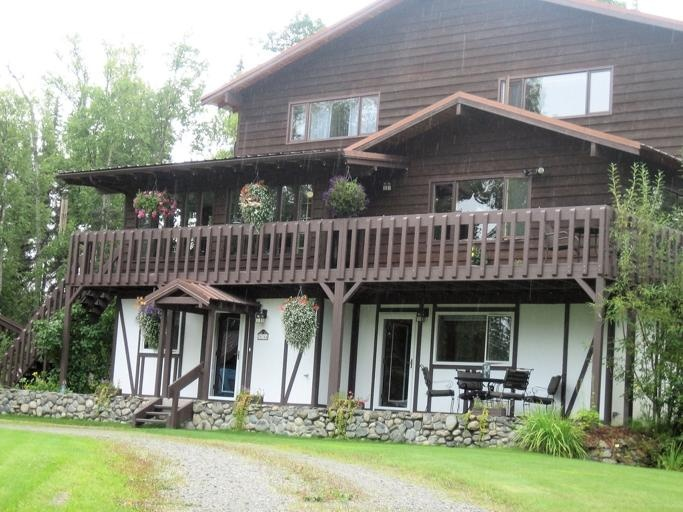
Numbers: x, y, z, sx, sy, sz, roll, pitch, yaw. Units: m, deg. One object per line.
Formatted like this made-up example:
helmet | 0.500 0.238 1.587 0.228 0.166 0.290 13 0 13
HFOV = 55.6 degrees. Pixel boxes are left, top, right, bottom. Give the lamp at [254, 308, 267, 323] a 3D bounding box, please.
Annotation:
lamp | -2.424 1.788 19.680 0.265 0.435 0.408 -1 -13 10

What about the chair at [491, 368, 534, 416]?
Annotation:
chair | 4.452 3.474 16.669 0.892 1.254 1.882 0 -6 17

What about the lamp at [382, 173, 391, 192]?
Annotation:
lamp | 1.436 -2.253 20.157 0.300 0.462 0.241 1 -5 11

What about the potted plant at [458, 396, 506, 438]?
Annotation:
potted plant | 3.273 3.700 14.966 0.727 0.549 0.840 -2 -4 11

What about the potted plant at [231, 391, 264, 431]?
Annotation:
potted plant | -2.572 4.165 17.518 0.646 0.897 0.344 -7 -23 44

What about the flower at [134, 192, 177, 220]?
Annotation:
flower | -6.365 -1.726 22.328 1.102 0.907 1.192 1 3 0

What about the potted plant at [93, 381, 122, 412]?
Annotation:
potted plant | -7.085 4.234 19.584 0.756 0.904 0.694 3 -22 -20

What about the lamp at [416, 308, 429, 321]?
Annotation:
lamp | 2.418 1.686 18.975 0.333 0.435 0.116 1 -5 4

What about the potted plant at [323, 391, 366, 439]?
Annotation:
potted plant | 0.179 4.000 16.412 0.348 0.957 0.850 15 -20 -33

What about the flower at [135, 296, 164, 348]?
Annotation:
flower | -6.121 2.243 20.471 0.669 1.443 1.854 3 -6 -18

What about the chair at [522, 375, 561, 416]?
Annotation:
chair | 5.101 3.538 16.642 0.935 1.225 0.896 4 -11 -2
